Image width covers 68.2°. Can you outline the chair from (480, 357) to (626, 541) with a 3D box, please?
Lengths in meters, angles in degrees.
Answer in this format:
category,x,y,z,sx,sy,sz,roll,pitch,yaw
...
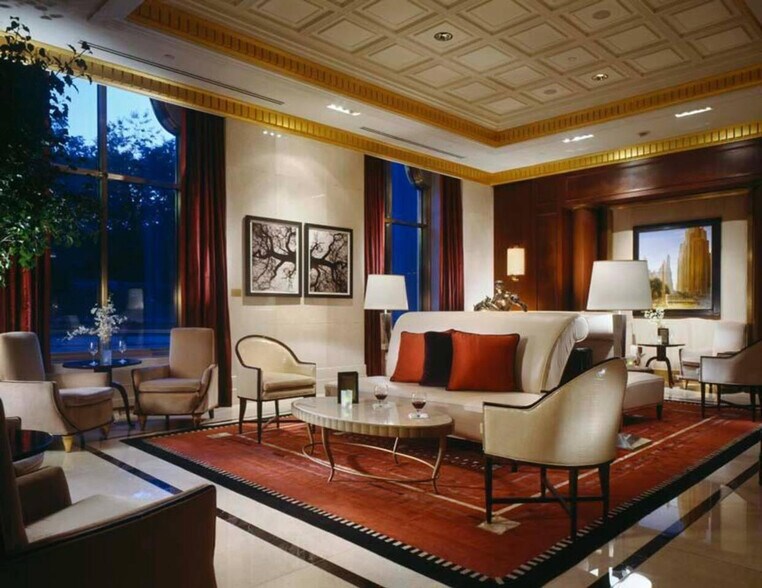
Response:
category,x,y,z,sx,sy,sz,roll,pitch,yaw
chair,1.113,0.832,3.508,0.907,1.151,0.874,-2,-5,42

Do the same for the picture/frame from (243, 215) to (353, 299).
category,x,y,z,sx,sy,sz,roll,pitch,yaw
picture/frame,-1.114,-0.466,7.062,1.149,0.645,0.044,2,-1,-43

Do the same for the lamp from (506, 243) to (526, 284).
category,x,y,z,sx,sy,sz,roll,pitch,yaw
lamp,2.218,-0.517,9.468,0.224,0.630,0.358,-2,3,-41

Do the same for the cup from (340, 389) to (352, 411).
category,x,y,z,sx,sy,sz,roll,pitch,yaw
cup,-0.256,0.757,4.084,0.100,0.177,0.096,0,1,0

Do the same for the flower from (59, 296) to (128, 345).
category,x,y,z,sx,sy,sz,roll,pitch,yaw
flower,-2.831,0.290,5.768,0.557,0.485,0.586,-5,-5,38

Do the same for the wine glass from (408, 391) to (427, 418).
category,x,y,z,sx,sy,sz,roll,pitch,yaw
wine glass,0.226,0.726,3.707,0.138,0.168,0.142,-2,-4,21

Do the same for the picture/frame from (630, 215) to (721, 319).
category,x,y,z,sx,sy,sz,roll,pitch,yaw
picture/frame,4.250,-0.361,7.961,0.080,1.873,1.530,5,-6,-42
